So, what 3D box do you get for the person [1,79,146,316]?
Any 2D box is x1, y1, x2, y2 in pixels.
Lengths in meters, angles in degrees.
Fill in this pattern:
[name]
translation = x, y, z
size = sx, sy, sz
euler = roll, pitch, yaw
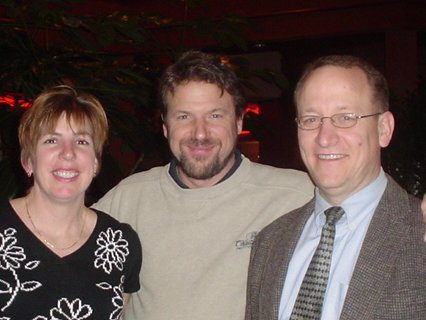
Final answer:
[person]
translation = -0.903, 0.256, 2.421
size = 0.829, 1.415, 0.373
euler = -9, 3, -12
